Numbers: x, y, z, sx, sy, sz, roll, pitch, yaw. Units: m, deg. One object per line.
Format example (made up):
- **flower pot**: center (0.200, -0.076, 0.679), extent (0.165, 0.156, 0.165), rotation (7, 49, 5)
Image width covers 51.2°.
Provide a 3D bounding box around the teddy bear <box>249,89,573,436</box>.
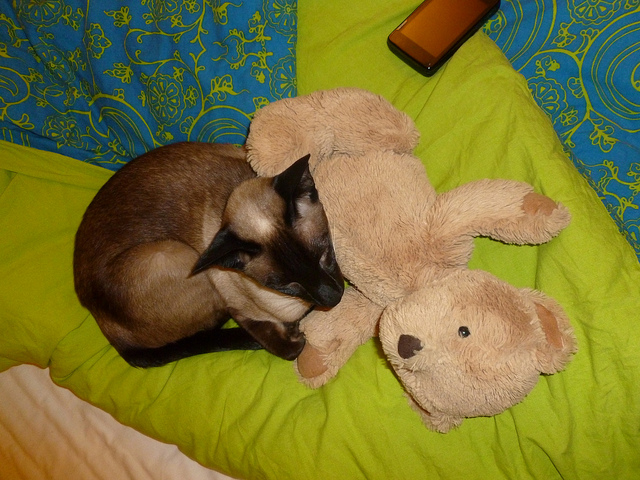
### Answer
- **teddy bear**: center (0.205, 0.094, 1.967), extent (0.470, 0.820, 1.027), rotation (-17, 60, -41)
